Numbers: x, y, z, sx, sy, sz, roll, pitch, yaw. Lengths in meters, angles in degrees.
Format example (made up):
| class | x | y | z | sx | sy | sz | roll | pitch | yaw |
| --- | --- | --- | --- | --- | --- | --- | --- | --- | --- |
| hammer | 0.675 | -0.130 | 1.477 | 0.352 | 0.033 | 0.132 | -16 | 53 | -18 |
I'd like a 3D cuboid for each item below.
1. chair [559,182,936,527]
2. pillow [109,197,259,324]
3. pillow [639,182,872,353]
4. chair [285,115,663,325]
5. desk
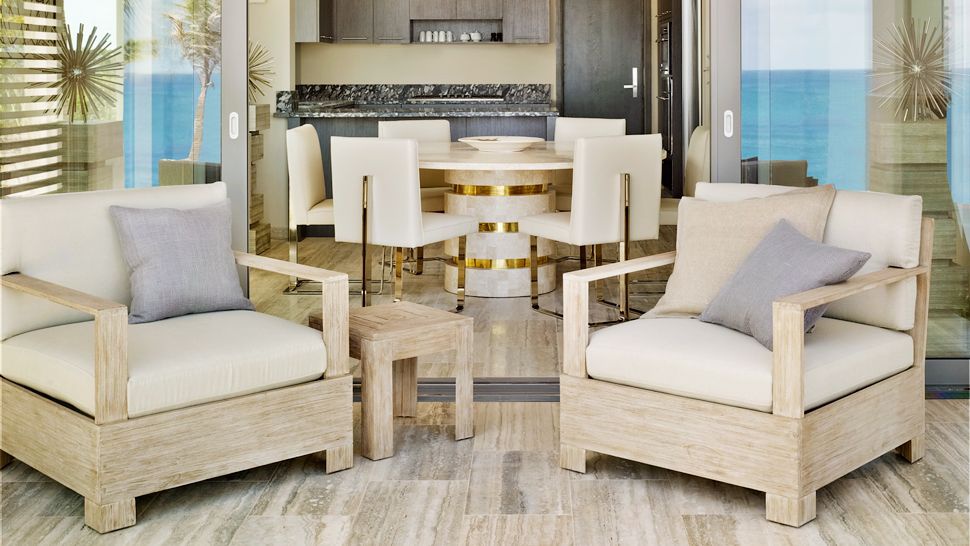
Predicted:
| class | x | y | z | sx | sy | sz | roll | pitch | yaw |
| --- | --- | --- | --- | --- | --- | --- | --- | --- | --- |
| chair | 1.205 | 0.182 | 3.518 | 1.635 | 1.478 | 1.738 | 5 | 8 | 42 |
| pillow | -1.480 | -0.051 | 3.228 | 0.686 | 0.493 | 0.335 | -9 | 17 | -28 |
| pillow | 1.249 | -0.082 | 3.102 | 0.251 | 0.725 | 0.840 | 30 | -18 | -36 |
| chair | -0.064 | -0.368 | 5.153 | 2.314 | 1.125 | 0.871 | -1 | 8 | -10 |
| desk | 0.445 | -0.382 | 5.580 | 1.819 | 1.111 | 1.667 | -4 | 3 | 44 |
